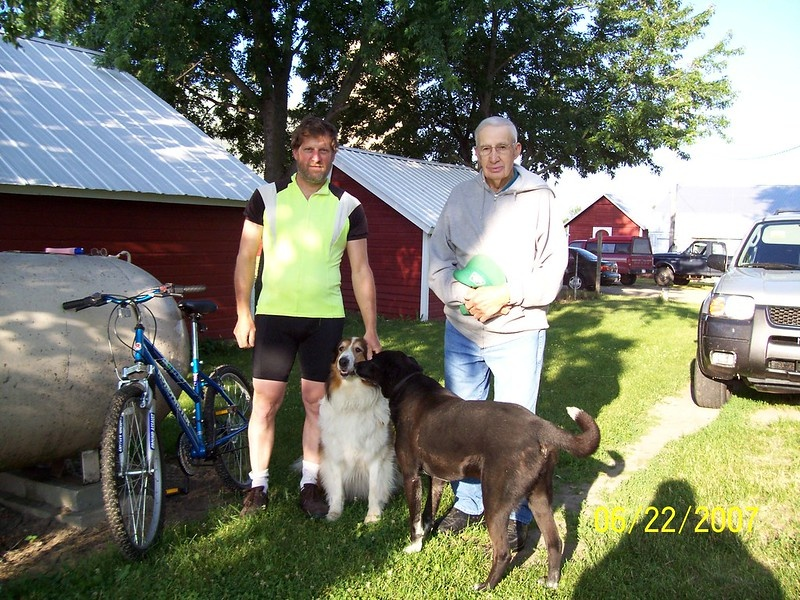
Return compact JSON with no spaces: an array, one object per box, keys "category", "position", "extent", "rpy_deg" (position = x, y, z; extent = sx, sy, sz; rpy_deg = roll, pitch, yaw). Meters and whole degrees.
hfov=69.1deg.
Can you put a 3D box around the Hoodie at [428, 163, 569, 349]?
[{"category":"Hoodie","position":[0.745,-0.329,4.522],"extent":[1.060,1.399,0.518],"rpy_deg":[3,9,18]}]

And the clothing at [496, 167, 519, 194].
[{"category":"clothing","position":[0.842,-0.912,4.554],"extent":[0.149,0.219,0.084],"rpy_deg":[3,-6,-5]}]

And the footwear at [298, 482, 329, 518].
[{"category":"footwear","position":[-0.754,1.761,5.087],"extent":[0.133,0.165,0.382],"rpy_deg":[0,-3,-17]}]

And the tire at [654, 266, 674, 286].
[{"category":"tire","position":[13.160,-1.165,28.888],"extent":[0.298,0.958,0.845],"rpy_deg":[-5,5,-36]}]

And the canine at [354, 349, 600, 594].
[{"category":"canine","position":[0.519,1.271,4.329],"extent":[1.783,1.449,0.524],"rpy_deg":[7,11,38]}]

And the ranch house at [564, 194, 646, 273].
[{"category":"ranch house","position":[17.167,-6.570,48.028],"extent":[5.138,6.070,9.710],"rpy_deg":[5,21,23]}]

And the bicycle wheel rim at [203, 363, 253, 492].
[{"category":"bicycle wheel rim","position":[-1.681,1.293,5.666],"extent":[0.361,1.049,0.996],"rpy_deg":[-5,-8,6]}]

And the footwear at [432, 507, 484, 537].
[{"category":"footwear","position":[0.485,1.835,4.818],"extent":[0.399,0.197,0.166],"rpy_deg":[6,-9,-25]}]

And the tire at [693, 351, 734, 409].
[{"category":"tire","position":[3.999,1.027,7.423],"extent":[0.252,0.753,0.673],"rpy_deg":[2,-6,44]}]

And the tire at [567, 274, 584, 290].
[{"category":"tire","position":[7.735,-0.752,25.483],"extent":[0.225,0.685,0.633],"rpy_deg":[13,-12,-12]}]

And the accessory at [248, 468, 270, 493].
[{"category":"accessory","position":[-1.213,1.556,5.146],"extent":[0.201,0.249,0.161],"rpy_deg":[0,0,22]}]
